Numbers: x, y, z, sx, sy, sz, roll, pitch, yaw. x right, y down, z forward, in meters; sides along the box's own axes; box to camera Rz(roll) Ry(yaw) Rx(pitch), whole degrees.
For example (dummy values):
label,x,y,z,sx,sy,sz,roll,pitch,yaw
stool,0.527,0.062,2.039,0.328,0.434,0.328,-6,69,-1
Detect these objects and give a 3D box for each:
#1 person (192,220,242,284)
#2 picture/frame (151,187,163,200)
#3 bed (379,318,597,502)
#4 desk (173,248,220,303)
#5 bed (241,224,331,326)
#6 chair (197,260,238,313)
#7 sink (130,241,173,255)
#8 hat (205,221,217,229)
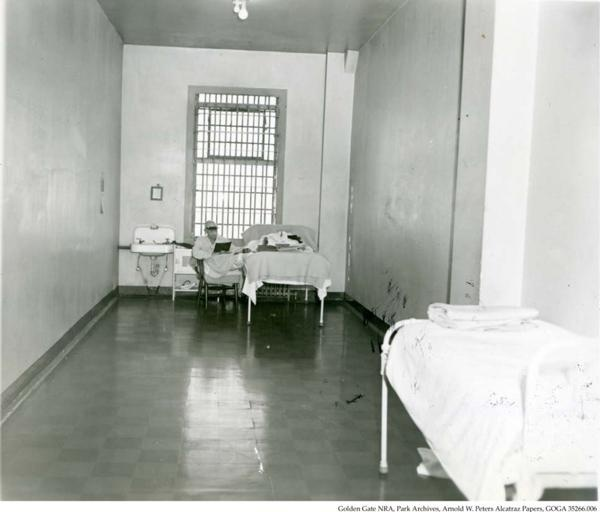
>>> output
label,x,y,z,sx,sy,sz,roll,pitch,yaw
person,-1.185,-0.055,7.857,0.610,0.829,1.166,0,5,-23
picture/frame,-2.259,-1.001,8.877,0.158,0.229,0.032,0,-1,-7
bed,0.894,0.597,2.728,0.782,0.724,0.883,-1,12,-9
desk,-1.624,0.270,8.734,0.569,1.301,0.657,0,2,8
bed,-0.211,0.173,7.561,0.838,0.983,1.481,1,-2,-3
chair,-1.181,0.426,8.244,0.568,1.130,0.614,0,1,-8
sink,-2.256,-0.098,8.650,0.619,0.209,0.447,0,5,-19
hat,-1.302,-0.458,8.267,0.114,0.083,0.174,2,3,-12
